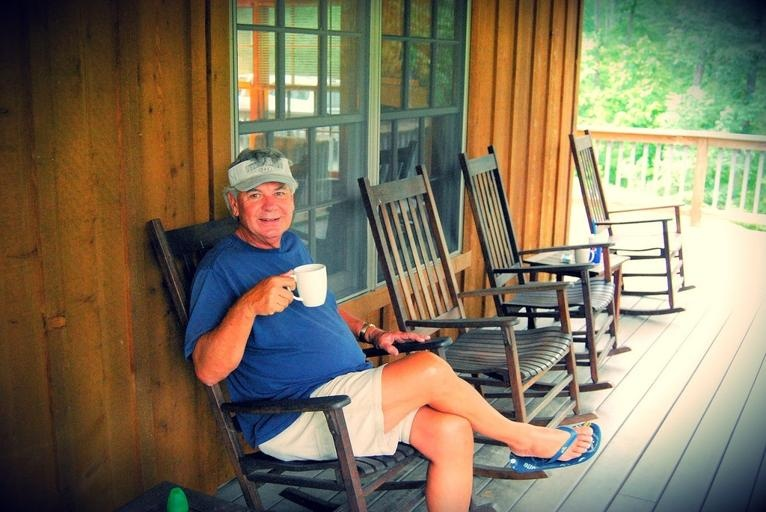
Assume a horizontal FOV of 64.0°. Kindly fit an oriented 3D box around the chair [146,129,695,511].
[{"bbox_3d":[0.190,0.359,3.212,0.873,1.220,2.205,-6,6,32],"label":"chair"}]

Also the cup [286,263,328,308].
[{"bbox_3d":[-0.279,0.125,2.471,0.135,0.182,0.184,2,8,27],"label":"cup"}]

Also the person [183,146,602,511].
[{"bbox_3d":[-0.087,0.305,2.613,1.396,1.541,0.660,-1,8,11],"label":"person"}]

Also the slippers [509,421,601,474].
[{"bbox_3d":[0.808,0.902,2.808,0.423,0.096,0.210,-11,35,-1],"label":"slippers"}]

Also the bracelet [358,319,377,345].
[{"bbox_3d":[-0.086,0.389,3.060,0.116,0.103,0.102,1,19,7],"label":"bracelet"}]

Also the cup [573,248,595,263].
[{"bbox_3d":[1.384,-0.004,4.238,0.140,0.101,0.112,0,5,34],"label":"cup"}]
